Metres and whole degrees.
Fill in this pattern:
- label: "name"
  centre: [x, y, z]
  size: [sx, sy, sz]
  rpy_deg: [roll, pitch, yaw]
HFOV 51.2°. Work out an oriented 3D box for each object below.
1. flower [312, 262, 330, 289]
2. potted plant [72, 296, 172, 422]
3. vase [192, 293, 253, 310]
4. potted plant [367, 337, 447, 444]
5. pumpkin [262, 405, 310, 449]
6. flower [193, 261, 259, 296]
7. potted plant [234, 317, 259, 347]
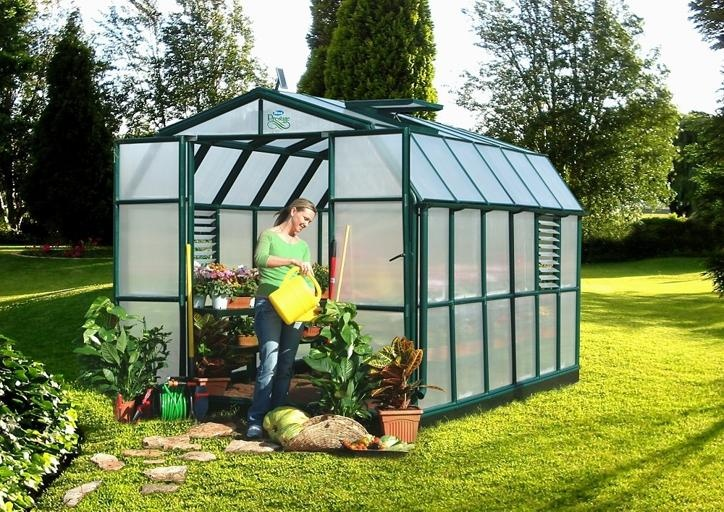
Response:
- label: "flower"
  centre: [-0.685, 0.315, 13.025]
  size: [0.436, 0.286, 0.422]
  rpy_deg: [14, 12, 2]
- label: "potted plant"
  centre: [-3.558, 1.404, 10.956]
  size: [1.199, 1.746, 1.309]
  rpy_deg: [6, 5, 27]
- label: "vase"
  centre: [-2.033, 0.689, 11.131]
  size: [0.870, 0.187, 0.282]
  rpy_deg: [0, 8, -14]
- label: "potted plant"
  centre: [0.425, 1.754, 9.870]
  size: [0.701, 1.333, 0.428]
  rpy_deg: [2, 7, 0]
- label: "pumpkin"
  centre: [-0.955, 2.123, 9.851]
  size: [0.533, 0.436, 0.586]
  rpy_deg: [12, 4, 10]
- label: "flower"
  centre: [-2.084, 0.341, 11.531]
  size: [0.938, 0.461, 0.630]
  rpy_deg: [2, 3, -11]
- label: "potted plant"
  centre: [-1.776, 1.182, 11.668]
  size: [0.551, 0.357, 0.506]
  rpy_deg: [-1, -1, -2]
